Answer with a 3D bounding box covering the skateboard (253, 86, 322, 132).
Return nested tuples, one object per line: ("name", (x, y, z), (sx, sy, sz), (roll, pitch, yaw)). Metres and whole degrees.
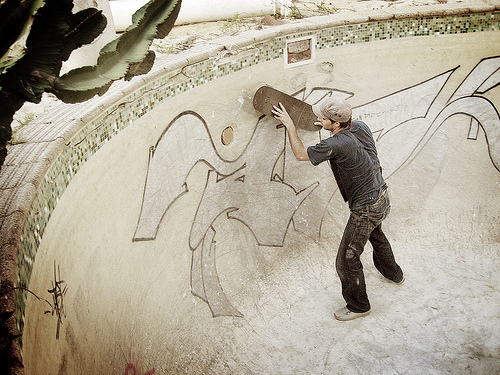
("skateboard", (0.434, -0.958, 5.061), (0.347, 1.010, 0.142), (-64, 27, 9))
